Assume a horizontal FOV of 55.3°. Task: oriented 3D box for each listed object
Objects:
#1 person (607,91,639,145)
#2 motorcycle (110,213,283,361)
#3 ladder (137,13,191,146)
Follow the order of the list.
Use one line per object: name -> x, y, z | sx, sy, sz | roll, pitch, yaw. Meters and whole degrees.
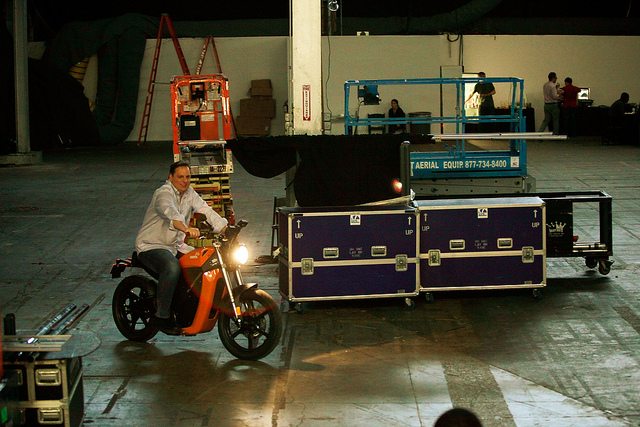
person -> 12.071, -3.751, 24.332 | 1.082, 1.984, 0.663 | -3, 12, -1
motorcycle -> -1.621, 0.871, 7.827 | 2.713, 1.653, 1.101 | -1, -7, 34
ladder -> -7.181, -5.955, 27.240 | 2.496, 5.567, 1.595 | -3, 12, -4
